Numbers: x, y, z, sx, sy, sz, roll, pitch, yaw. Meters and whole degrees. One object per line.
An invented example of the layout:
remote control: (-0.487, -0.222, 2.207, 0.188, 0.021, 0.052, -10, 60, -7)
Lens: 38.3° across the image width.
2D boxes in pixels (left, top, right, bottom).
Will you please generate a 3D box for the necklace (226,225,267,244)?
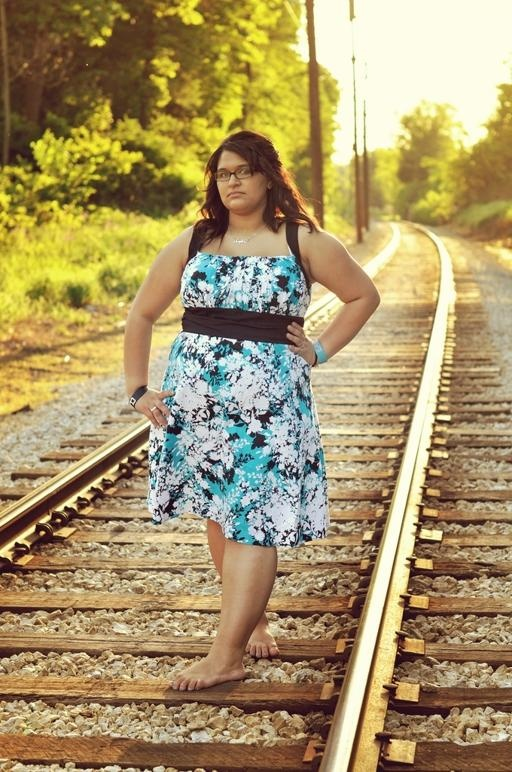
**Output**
necklace: (-0.033, -0.424, 2.090, 0.111, 0.046, 0.061, -1, 7, 11)

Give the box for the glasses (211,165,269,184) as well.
glasses: (-0.037, -0.597, 2.079, 0.086, 0.022, 0.081, -2, -2, 20)

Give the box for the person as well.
person: (-0.014, 0.058, 2.176, 0.785, 1.585, 0.386, -4, 8, 0)

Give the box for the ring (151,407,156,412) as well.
ring: (-0.298, 0.066, 2.144, 0.003, 0.012, 0.015, 28, -15, -35)

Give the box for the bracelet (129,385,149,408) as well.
bracelet: (-0.350, 0.031, 2.219, 0.059, 0.016, 0.063, -29, -7, -38)
